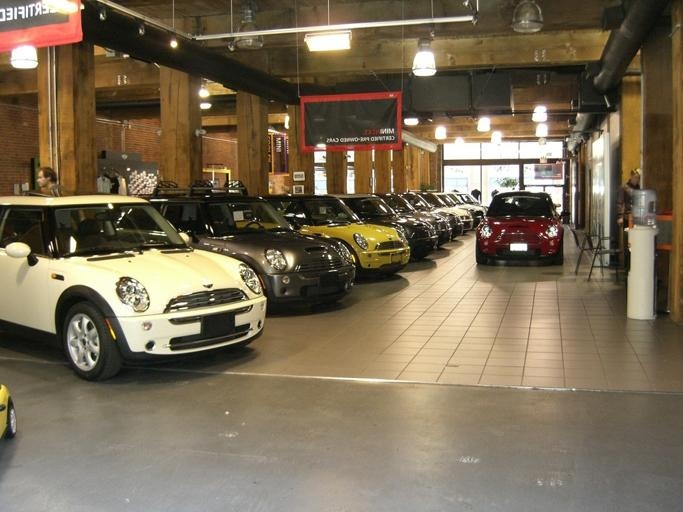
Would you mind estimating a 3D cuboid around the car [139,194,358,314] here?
[{"bbox_3d":[-1.218,0.160,8.722,1.779,1.352,3.276,-5,0,-34],"label":"car"}]

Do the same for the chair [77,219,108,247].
[{"bbox_3d":[-2.766,-0.243,5.402,0.287,0.292,0.337,1,-12,-18],"label":"chair"}]

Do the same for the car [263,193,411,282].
[{"bbox_3d":[0.107,-0.568,10.557,3.395,1.162,1.539,4,9,27],"label":"car"}]

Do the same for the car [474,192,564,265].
[{"bbox_3d":[5.035,-1.076,13.670,2.258,1.534,3.729,2,18,23],"label":"car"}]

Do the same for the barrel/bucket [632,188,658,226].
[{"bbox_3d":[4.562,-0.723,7.358,0.326,0.559,0.349,-1,4,0],"label":"barrel/bucket"}]
